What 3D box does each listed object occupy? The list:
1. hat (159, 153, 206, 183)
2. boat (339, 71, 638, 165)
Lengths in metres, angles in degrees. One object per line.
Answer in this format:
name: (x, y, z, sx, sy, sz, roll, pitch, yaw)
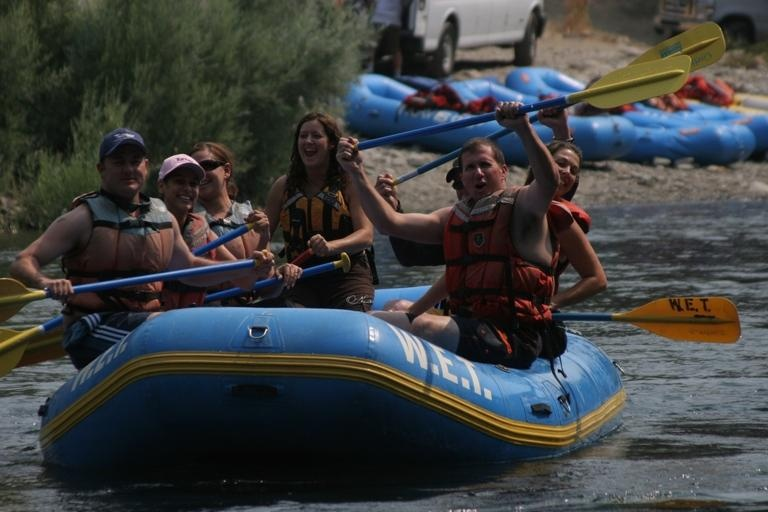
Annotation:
hat: (-1.816, -0.791, 11.700, 0.337, 0.247, 0.516, -2, -10, -29)
boat: (1.484, -2.088, 20.485, 3.490, 0.565, 1.817, 2, 16, 10)
